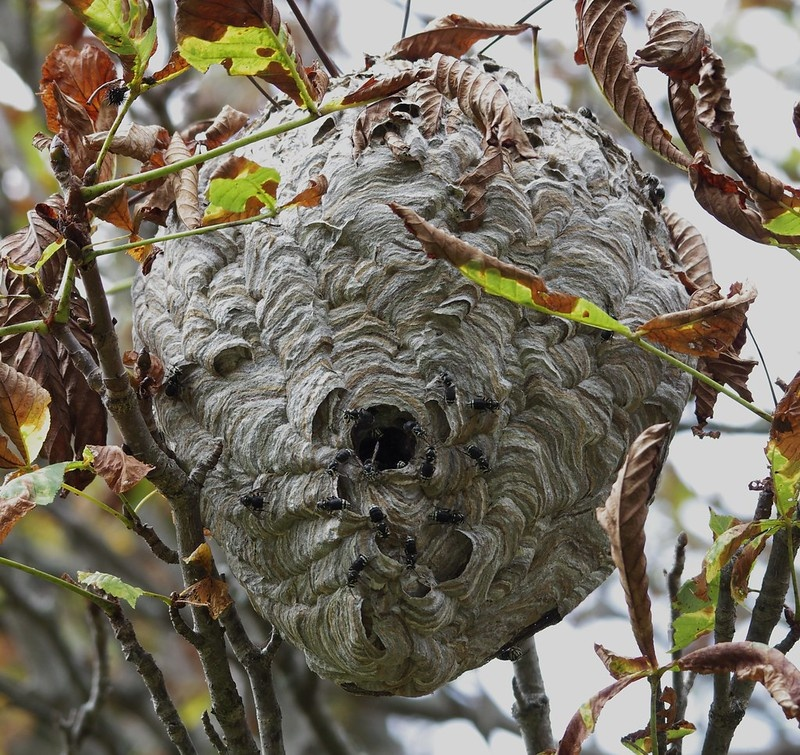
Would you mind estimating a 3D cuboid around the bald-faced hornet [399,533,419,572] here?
[{"bbox_3d":[0.034,0.704,6.604,0.087,0.032,0.109,-1,-67,-6],"label":"bald-faced hornet"}]

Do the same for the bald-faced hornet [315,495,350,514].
[{"bbox_3d":[-0.271,0.503,6.554,0.119,0.055,0.059,5,-34,22],"label":"bald-faced hornet"}]

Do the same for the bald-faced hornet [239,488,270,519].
[{"bbox_3d":[-0.583,0.506,6.675,0.108,0.107,0.046,7,1,12],"label":"bald-faced hornet"}]

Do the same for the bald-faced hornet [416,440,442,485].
[{"bbox_3d":[0.104,0.339,6.661,0.089,0.119,0.035,4,-21,20],"label":"bald-faced hornet"}]

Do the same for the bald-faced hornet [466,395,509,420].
[{"bbox_3d":[0.343,0.121,6.763,0.187,0.134,0.058,5,-16,-23],"label":"bald-faced hornet"}]

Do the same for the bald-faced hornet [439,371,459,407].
[{"bbox_3d":[0.195,0.042,6.755,0.027,0.106,0.079,-16,-19,0],"label":"bald-faced hornet"}]

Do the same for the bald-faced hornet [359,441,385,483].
[{"bbox_3d":[-0.105,0.361,6.782,0.047,0.138,0.099,32,-41,-25],"label":"bald-faced hornet"}]

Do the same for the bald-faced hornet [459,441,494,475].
[{"bbox_3d":[0.307,0.330,6.758,0.032,0.110,0.109,-3,-54,40],"label":"bald-faced hornet"}]

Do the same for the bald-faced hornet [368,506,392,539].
[{"bbox_3d":[-0.086,0.575,6.570,0.033,0.089,0.116,19,-49,52],"label":"bald-faced hornet"}]

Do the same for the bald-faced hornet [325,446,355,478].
[{"bbox_3d":[-0.242,0.345,6.635,0.085,0.142,0.057,39,-36,-27],"label":"bald-faced hornet"}]

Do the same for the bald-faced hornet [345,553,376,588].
[{"bbox_3d":[-0.168,0.756,6.497,0.062,0.124,0.088,28,-33,-12],"label":"bald-faced hornet"}]

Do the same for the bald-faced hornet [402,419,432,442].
[{"bbox_3d":[0.062,0.215,6.734,0.104,0.030,0.062,40,-58,-4],"label":"bald-faced hornet"}]
